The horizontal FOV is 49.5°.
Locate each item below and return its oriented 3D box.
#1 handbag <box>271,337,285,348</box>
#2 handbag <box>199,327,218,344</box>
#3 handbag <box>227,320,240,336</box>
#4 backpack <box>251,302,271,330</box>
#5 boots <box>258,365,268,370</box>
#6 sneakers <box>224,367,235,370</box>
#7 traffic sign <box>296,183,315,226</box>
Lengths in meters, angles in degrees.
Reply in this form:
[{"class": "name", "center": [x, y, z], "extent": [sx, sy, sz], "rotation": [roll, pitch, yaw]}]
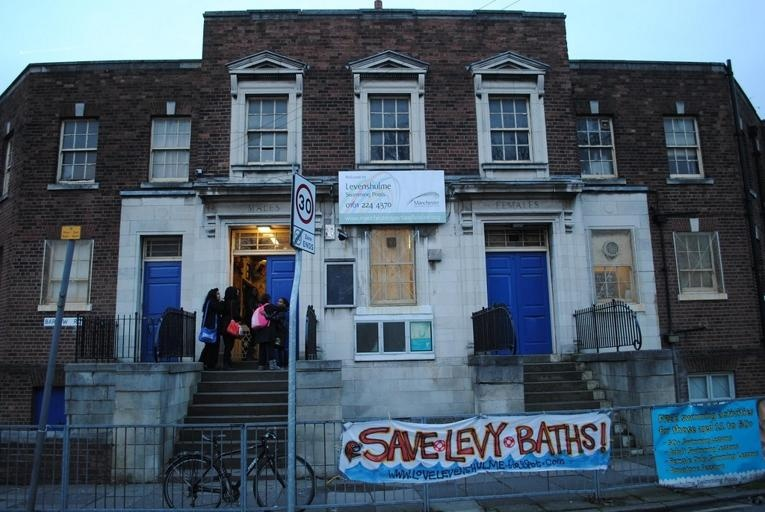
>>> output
[{"class": "handbag", "center": [-3.047, 2.471, 23.901], "extent": [0.338, 0.462, 0.165], "rotation": [1, 7, -9]}, {"class": "handbag", "center": [-4.974, 2.248, 23.693], "extent": [0.401, 0.459, 0.219], "rotation": [9, -23, -25]}, {"class": "handbag", "center": [-4.329, 2.073, 23.955], "extent": [0.146, 0.371, 0.376], "rotation": [-10, -20, 26]}, {"class": "backpack", "center": [-3.479, 1.732, 23.743], "extent": [0.524, 0.746, 0.393], "rotation": [-21, -40, 30]}, {"class": "boots", "center": [-3.421, 3.173, 23.654], "extent": [0.258, 0.135, 0.245], "rotation": [0, -11, -7]}, {"class": "sneakers", "center": [-4.411, 3.212, 23.660], "extent": [0.278, 0.112, 0.526], "rotation": [1, -11, -13]}, {"class": "traffic sign", "center": [-1.741, -1.121, 18.377], "extent": [0.072, 0.907, 0.759], "rotation": [-3, -12, 22]}]
